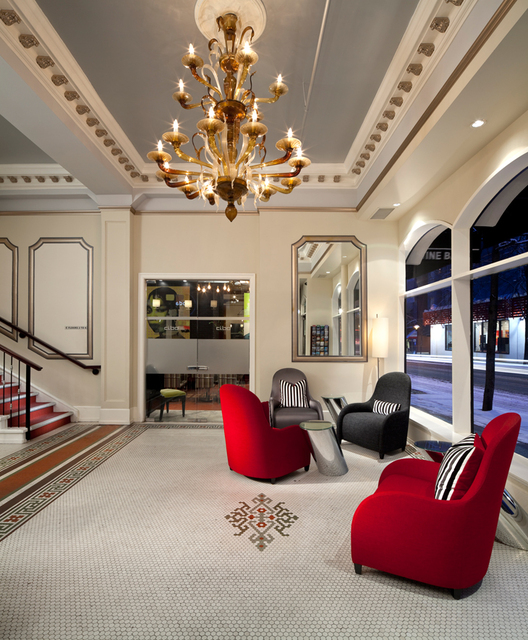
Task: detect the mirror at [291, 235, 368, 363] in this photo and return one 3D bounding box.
[{"bbox_3d":[0.922,-0.298,5.812,1.019,1.754,0.152,0,-2,-3],"label":"mirror"}]

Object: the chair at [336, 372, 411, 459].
[{"bbox_3d":[1.283,1.029,4.615,0.665,0.831,0.671,6,-4,-26],"label":"chair"}]

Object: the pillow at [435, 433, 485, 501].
[{"bbox_3d":[1.023,0.780,2.158,0.131,0.251,0.364,14,-1,14],"label":"pillow"}]

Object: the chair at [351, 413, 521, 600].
[{"bbox_3d":[0.912,0.926,2.589,1.012,1.146,0.806,2,0,24],"label":"chair"}]

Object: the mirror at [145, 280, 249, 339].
[{"bbox_3d":[-0.976,-0.152,6.145,1.470,0.851,0.310,0,-2,-13],"label":"mirror"}]

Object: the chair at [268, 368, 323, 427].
[{"bbox_3d":[0.380,1.040,5.129,0.650,0.861,0.808,-1,-4,5],"label":"chair"}]

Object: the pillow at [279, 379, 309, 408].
[{"bbox_3d":[0.362,0.917,5.142,0.310,0.294,0.091,0,-23,0],"label":"pillow"}]

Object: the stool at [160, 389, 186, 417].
[{"bbox_3d":[-1.327,1.146,6.134,0.377,0.398,0.459,0,2,-31],"label":"stool"}]

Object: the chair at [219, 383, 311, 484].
[{"bbox_3d":[-0.024,1.009,3.824,0.755,0.825,0.628,0,-2,-37],"label":"chair"}]
